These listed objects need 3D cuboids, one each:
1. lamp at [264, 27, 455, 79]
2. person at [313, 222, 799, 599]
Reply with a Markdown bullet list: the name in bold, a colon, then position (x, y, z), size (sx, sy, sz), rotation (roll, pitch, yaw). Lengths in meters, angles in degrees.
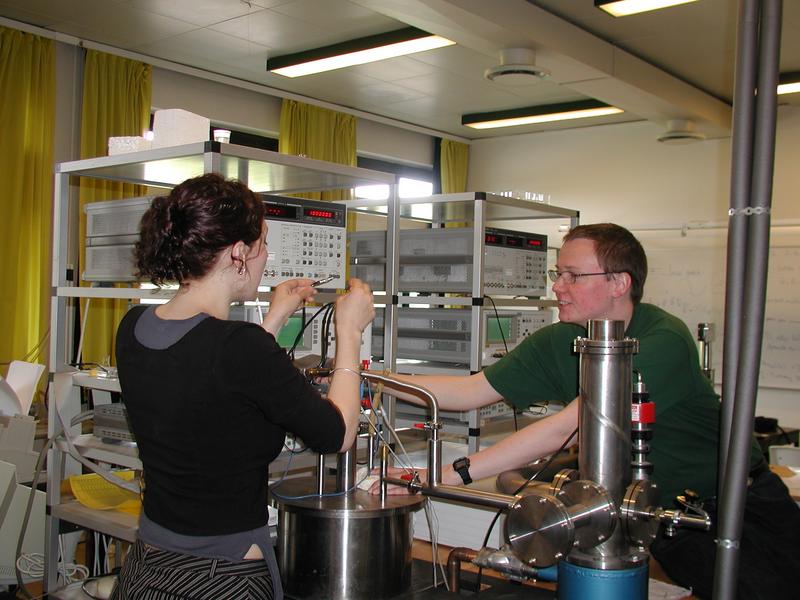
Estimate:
- **lamp**: position (-0.625, -2.010, 5.874), size (2.386, 0.166, 0.421), rotation (8, 36, 46)
- **person**: position (0.453, 0.366, 2.216), size (1.360, 1.269, 0.766), rotation (9, -12, -18)
